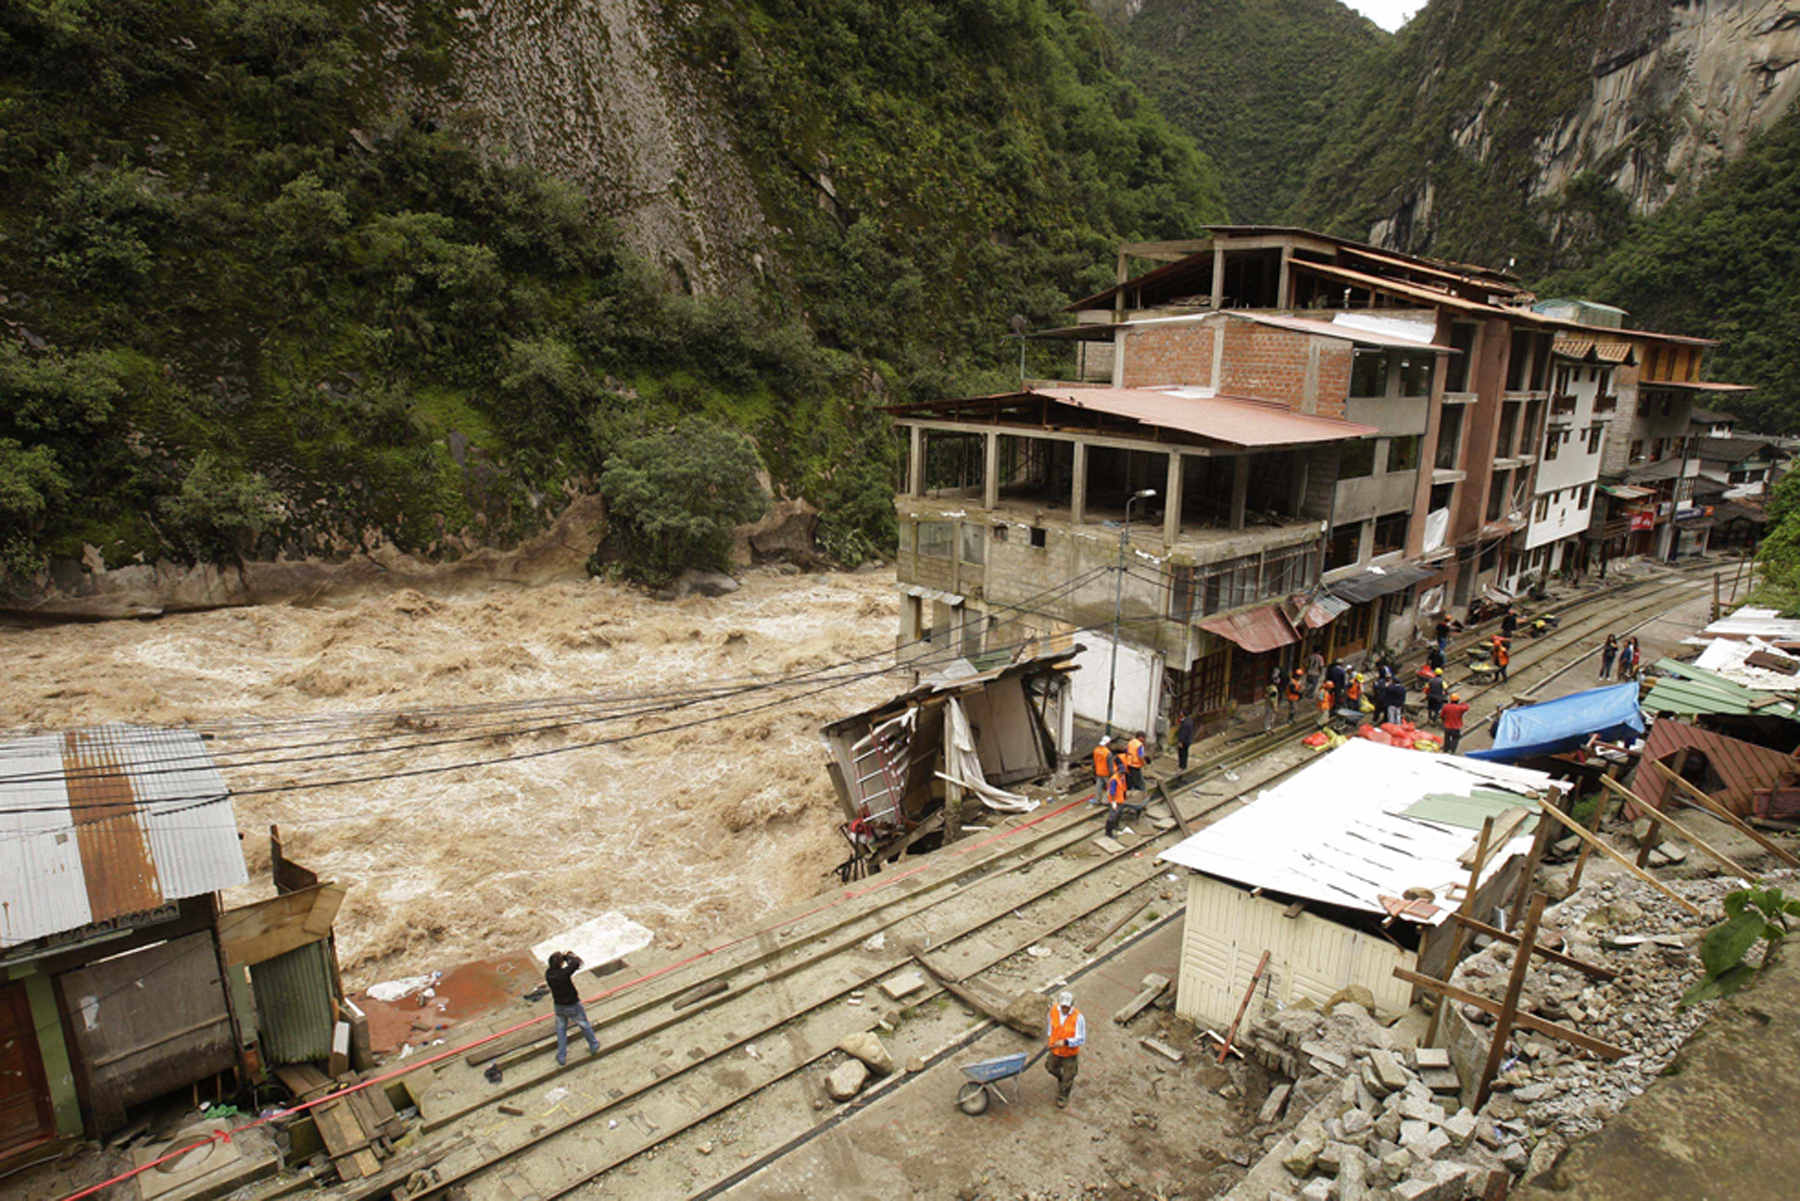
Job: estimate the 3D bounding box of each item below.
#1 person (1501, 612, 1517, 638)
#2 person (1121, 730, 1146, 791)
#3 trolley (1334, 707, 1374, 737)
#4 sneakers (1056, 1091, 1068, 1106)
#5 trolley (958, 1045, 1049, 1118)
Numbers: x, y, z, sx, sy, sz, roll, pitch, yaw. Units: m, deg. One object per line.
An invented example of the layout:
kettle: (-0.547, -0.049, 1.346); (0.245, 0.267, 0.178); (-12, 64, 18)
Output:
person: (23.524, 0.985, 42.566); (0.412, 1.124, 0.641); (-3, 32, 33)
person: (6.306, 4.476, 29.813); (0.445, 1.547, 0.935); (2, 17, 17)
trolley: (14.055, 3.917, 34.450); (0.885, 0.982, 1.121); (-17, 23, -38)
sneakers: (3.063, 9.575, 20.951); (0.149, 0.202, 0.338); (-1, -8, 18)
trolley: (1.772, 9.177, 20.774); (1.789, 0.681, 0.845); (-9, -28, -6)
